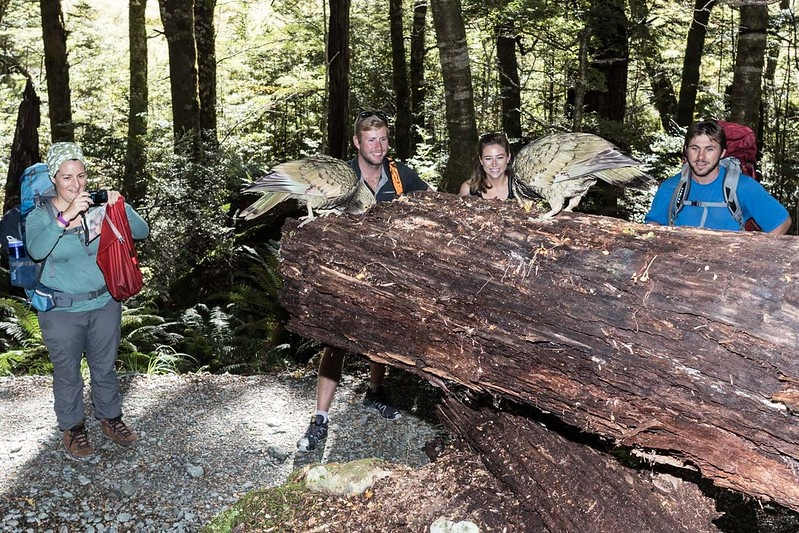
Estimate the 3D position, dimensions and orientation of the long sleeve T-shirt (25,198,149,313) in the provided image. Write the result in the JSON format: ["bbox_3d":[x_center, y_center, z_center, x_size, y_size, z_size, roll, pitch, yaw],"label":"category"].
[{"bbox_3d":[-3.469,-0.053,6.868,1.055,1.051,1.198,-21,-10,40],"label":"long sleeve T-shirt"}]

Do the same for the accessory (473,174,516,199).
[{"bbox_3d":[0.999,-0.851,6.705,0.386,0.372,0.135,11,-17,14],"label":"accessory"}]

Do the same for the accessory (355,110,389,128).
[{"bbox_3d":[-0.293,-1.557,6.554,0.340,0.156,0.242,1,15,-4],"label":"accessory"}]

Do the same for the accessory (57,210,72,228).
[{"bbox_3d":[-3.423,-0.484,6.385,0.140,0.090,0.127,41,11,-27],"label":"accessory"}]

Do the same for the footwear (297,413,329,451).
[{"bbox_3d":[-1.016,1.904,7.245,0.250,0.301,0.694,12,9,11],"label":"footwear"}]

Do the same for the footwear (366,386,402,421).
[{"bbox_3d":[-0.118,1.729,7.895,0.632,0.253,0.228,17,18,39],"label":"footwear"}]

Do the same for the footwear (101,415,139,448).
[{"bbox_3d":[-3.227,1.913,7.187,0.480,0.301,0.175,10,40,17],"label":"footwear"}]
